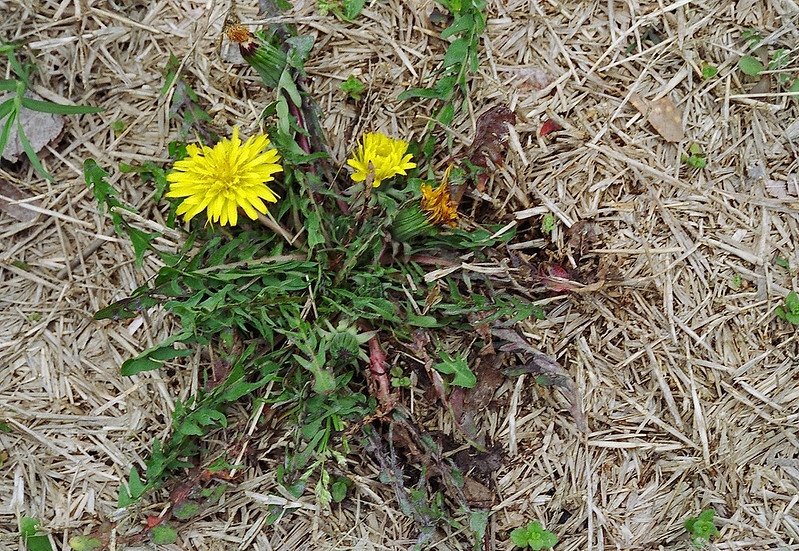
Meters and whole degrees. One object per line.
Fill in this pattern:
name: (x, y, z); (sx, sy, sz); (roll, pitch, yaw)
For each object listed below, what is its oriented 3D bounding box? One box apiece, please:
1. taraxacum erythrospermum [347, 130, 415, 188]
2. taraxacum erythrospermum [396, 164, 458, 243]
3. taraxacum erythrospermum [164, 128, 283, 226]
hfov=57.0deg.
taraxacum erythrospermum: (-0.074, -0.420, 2.683); (0.222, 0.110, 0.223); (-4, 71, -11)
taraxacum erythrospermum: (0.100, -0.257, 2.725); (0.215, 0.153, 0.168); (-46, 32, 17)
taraxacum erythrospermum: (-0.595, -0.332, 2.603); (0.384, 0.161, 0.368); (9, 71, 10)
